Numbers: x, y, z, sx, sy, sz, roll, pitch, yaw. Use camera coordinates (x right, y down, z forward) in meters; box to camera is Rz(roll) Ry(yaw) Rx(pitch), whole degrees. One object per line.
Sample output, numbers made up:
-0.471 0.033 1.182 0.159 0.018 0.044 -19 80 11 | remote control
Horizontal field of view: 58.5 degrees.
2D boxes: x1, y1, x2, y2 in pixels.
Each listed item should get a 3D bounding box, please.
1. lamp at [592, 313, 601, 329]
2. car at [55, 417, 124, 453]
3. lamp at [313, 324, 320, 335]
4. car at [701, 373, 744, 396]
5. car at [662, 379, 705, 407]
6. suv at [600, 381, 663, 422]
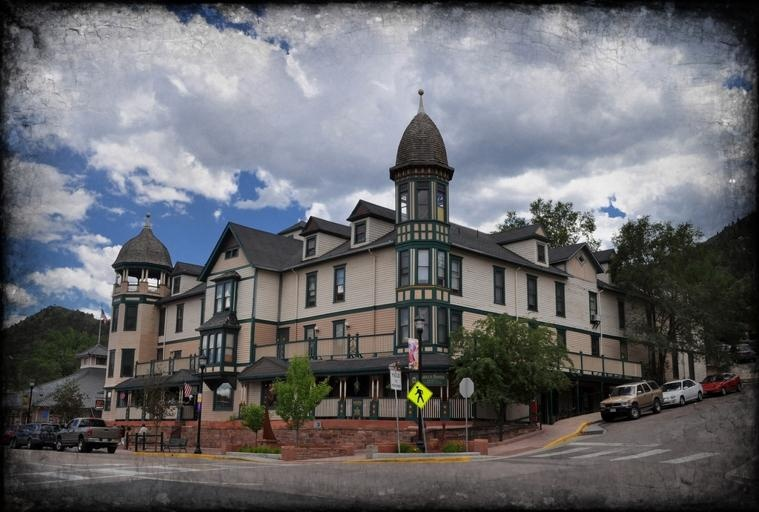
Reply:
13.994 4.181 43.916 0.446 0.827 0.925 -17 -25 40 | lamp
-13.822 8.479 32.268 1.583 1.327 3.714 14 -17 -42 | car
-3.609 4.235 39.222 0.492 0.576 0.431 -1 -20 1 | lamp
18.734 7.017 37.404 1.816 1.317 1.776 -9 -21 23 | car
15.962 7.226 35.917 2.513 0.893 1.252 13 -21 -39 | car
12.785 7.289 34.172 3.154 1.481 1.704 16 -29 -42 | suv
